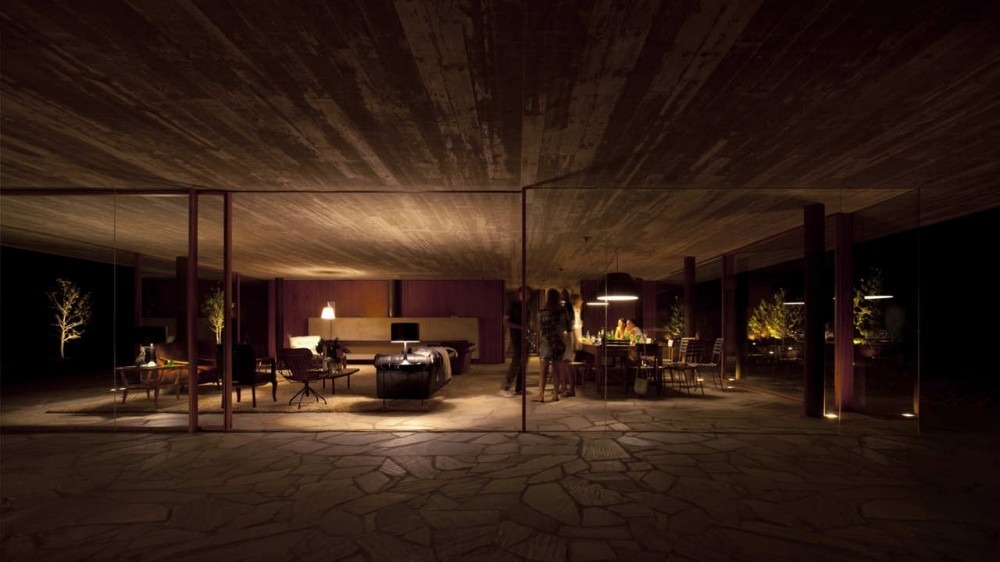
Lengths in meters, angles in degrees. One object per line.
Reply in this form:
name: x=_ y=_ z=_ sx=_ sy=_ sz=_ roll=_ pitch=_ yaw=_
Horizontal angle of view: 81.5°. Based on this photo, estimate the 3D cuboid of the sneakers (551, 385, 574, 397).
sneakers: x=1.405 y=2.467 z=12.981 sx=0.376 sy=0.110 sz=0.271 roll=2 pitch=-4 yaw=-27

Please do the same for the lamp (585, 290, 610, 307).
lamp: x=2.701 y=0.551 z=16.294 sx=0.829 sy=0.294 sz=0.740 roll=0 pitch=-4 yaw=-2

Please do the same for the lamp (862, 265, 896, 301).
lamp: x=10.354 y=-0.034 z=16.030 sx=0.477 sy=0.789 sz=0.863 roll=1 pitch=-9 yaw=-7

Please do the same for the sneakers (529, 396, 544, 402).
sneakers: x=0.797 y=2.466 z=12.182 sx=0.122 sy=0.069 sz=0.210 roll=7 pitch=-6 yaw=-45
